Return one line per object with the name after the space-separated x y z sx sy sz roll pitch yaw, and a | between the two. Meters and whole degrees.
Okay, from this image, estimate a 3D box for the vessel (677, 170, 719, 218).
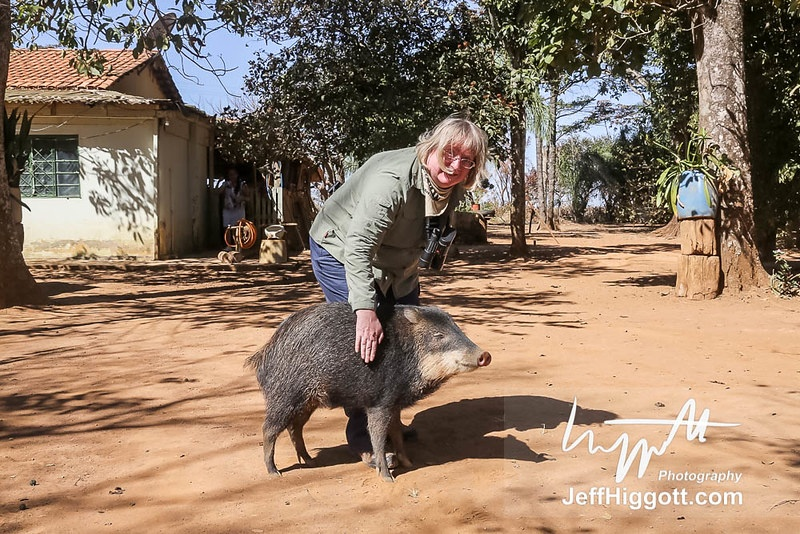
4.775 -1.124 9.807 0.704 0.732 0.697 -3 -5 32 | vessel

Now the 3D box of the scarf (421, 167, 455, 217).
0.347 -0.541 4.451 0.210 0.292 0.287 0 -41 15 | scarf

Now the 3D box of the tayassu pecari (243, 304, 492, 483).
-0.243 1.010 4.484 1.225 0.895 0.423 1 -1 6 | tayassu pecari

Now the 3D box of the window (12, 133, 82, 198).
-8.387 -2.500 14.254 2.094 2.176 0.175 1 3 -1 | window

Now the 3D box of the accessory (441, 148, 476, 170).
0.416 -0.760 4.188 0.242 0.135 0.072 -4 11 -22 | accessory

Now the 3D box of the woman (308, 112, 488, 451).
-0.079 0.129 4.722 1.271 2.486 1.549 11 19 29 | woman

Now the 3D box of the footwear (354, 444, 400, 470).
-0.155 1.455 4.512 0.201 0.083 0.177 10 -16 24 | footwear

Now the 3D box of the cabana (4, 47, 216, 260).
-7.854 -3.327 16.317 4.608 5.868 5.620 -6 11 -30 | cabana

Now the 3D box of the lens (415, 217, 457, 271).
0.290 -0.178 4.522 0.272 0.374 0.136 33 18 13 | lens
